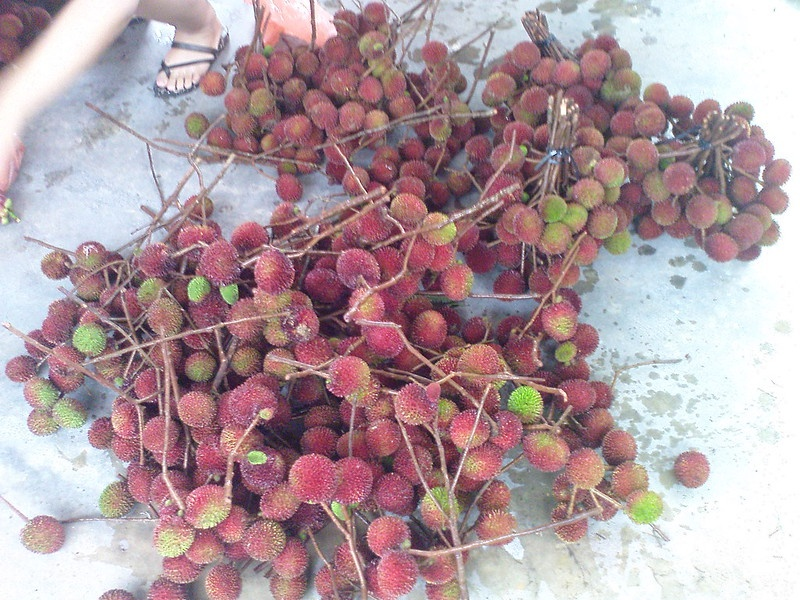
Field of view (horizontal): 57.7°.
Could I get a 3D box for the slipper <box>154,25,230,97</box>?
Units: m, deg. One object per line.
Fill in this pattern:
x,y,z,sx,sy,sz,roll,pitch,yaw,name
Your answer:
-0.690,-0.789,2.454,0.137,0.074,0.313,34,84,1,slipper
